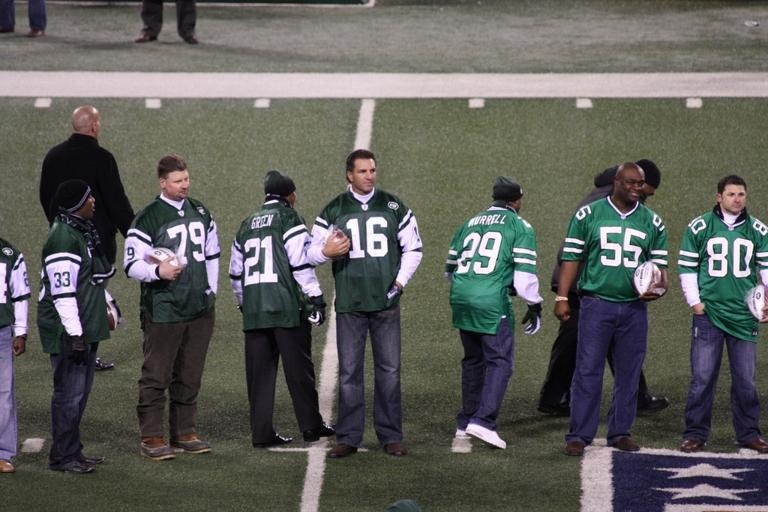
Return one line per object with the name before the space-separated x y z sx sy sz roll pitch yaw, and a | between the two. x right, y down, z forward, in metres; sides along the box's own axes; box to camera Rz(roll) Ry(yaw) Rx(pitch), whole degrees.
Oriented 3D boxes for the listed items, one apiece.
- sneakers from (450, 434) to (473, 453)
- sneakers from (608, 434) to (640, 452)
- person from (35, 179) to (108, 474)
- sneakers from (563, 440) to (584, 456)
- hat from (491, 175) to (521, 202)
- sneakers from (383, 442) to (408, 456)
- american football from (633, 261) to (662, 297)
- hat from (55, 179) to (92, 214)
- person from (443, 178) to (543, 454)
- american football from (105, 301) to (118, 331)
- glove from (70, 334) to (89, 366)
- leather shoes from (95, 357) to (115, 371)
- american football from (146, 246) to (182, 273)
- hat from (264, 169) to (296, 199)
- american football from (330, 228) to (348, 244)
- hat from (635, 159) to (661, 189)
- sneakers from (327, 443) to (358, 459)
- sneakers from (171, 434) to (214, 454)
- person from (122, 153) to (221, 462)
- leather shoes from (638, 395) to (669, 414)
sneakers | 0.924 2.180 18.460 0.209 0.128 0.255 2 -10 0
sneakers | 2.779 2.142 18.223 0.372 0.143 0.160 -3 3 30
person | -3.458 0.797 17.836 0.795 3.247 0.383 0 3 -12
sneakers | 2.193 2.190 18.160 0.143 0.135 0.322 1 -11 0
hat | 1.473 -0.761 18.756 0.268 0.254 0.331 -1 -6 -3
sneakers | 0.149 2.231 18.259 0.256 0.097 0.124 13 39 -17
american football | 3.003 0.268 18.033 0.250 0.361 0.308 2 9 39
hat | -3.508 -0.704 17.920 0.414 0.305 0.314 -17 31 -12
person | 1.279 0.677 18.518 1.075 3.159 0.818 1 3 1
american football | -3.116 0.688 18.245 0.189 0.307 0.298 -5 14 -4
glove | -3.391 1.042 17.739 0.207 0.305 0.141 0 3 -12
leather shoes | -3.602 1.373 20.178 0.382 0.157 0.137 2 8 14
american football | -2.479 0.059 18.049 0.319 0.116 0.221 21 8 2
hat | -1.184 -0.833 18.640 0.378 0.253 0.262 4 4 -2
american football | -0.493 -0.223 18.124 0.217 0.146 0.163 1 3 7
hat | 3.242 -0.975 19.015 0.377 0.285 0.272 25 15 20
sneakers | -0.475 2.228 18.174 0.398 0.147 0.137 2 4 -26
sneakers | -2.161 2.165 18.362 0.522 0.222 0.191 1 3 1
person | -2.418 0.592 18.213 1.069 3.436 0.439 0 3 -9
leather shoes | 3.246 1.771 19.208 0.453 0.200 0.167 -10 15 5
